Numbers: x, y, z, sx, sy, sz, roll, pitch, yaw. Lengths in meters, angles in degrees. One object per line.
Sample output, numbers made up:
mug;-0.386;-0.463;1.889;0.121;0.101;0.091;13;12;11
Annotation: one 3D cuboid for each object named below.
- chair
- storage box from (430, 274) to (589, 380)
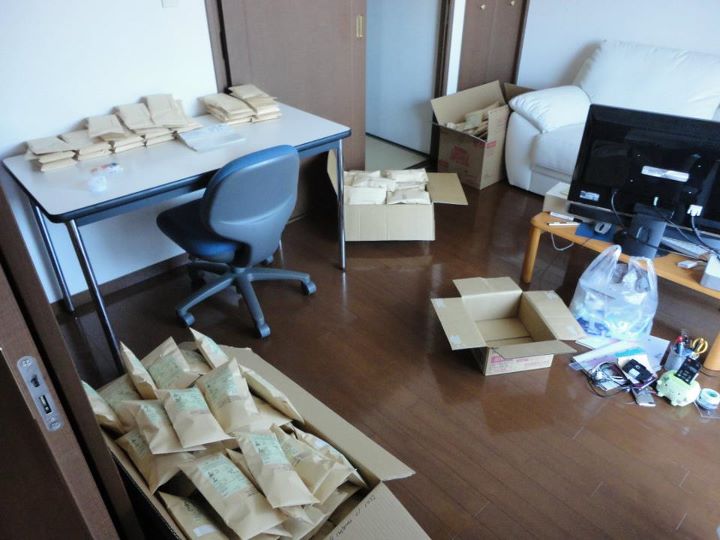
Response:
chair;-0.659;-0.106;2.555;0.578;0.703;0.594;-32;66;-34
storage box;0.720;0.277;2.496;0.683;0.230;0.567;-6;36;-7
